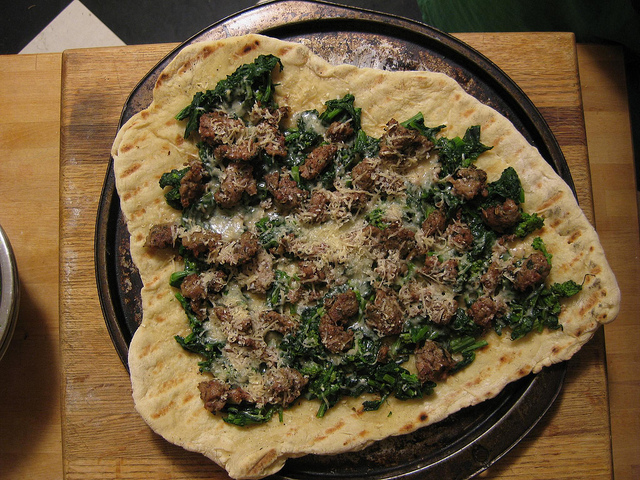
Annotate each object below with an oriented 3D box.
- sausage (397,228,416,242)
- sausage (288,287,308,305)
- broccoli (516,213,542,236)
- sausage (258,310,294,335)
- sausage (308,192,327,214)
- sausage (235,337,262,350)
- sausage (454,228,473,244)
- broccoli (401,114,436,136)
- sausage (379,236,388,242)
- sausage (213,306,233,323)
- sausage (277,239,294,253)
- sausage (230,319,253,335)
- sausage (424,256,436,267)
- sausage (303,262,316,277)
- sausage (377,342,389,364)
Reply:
[{"bbox_3d":[1.019,-0.063,8.379,0.146,0.043,0.145,45,78,-22],"label":"sausage"},{"bbox_3d":[-0.269,0.640,8.541,0.213,0.051,0.144,-30,110,-24],"label":"sausage"},{"bbox_3d":[2.441,-0.186,8.430,0.252,0.126,0.260,-17,105,30],"label":"broccoli"},{"bbox_3d":[-0.535,0.935,8.446,0.345,0.090,0.196,43,98,-6],"label":"sausage"},{"bbox_3d":[-0.028,-0.439,8.490,0.166,0.079,0.263,15,82,2],"label":"sausage"},{"bbox_3d":[-0.826,1.209,8.471,0.231,0.055,0.132,6,114,-12],"label":"sausage"},{"bbox_3d":[1.695,-0.045,8.499,0.229,0.106,0.172,1,85,0],"label":"sausage"},{"bbox_3d":[1.196,-1.371,8.622,0.264,0.095,0.269,-40,92,-10],"label":"broccoli"},{"bbox_3d":[0.747,-0.020,8.419,0.059,0.016,0.059,2,102,27],"label":"sausage"},{"bbox_3d":[-1.150,0.872,8.491,0.135,0.048,0.202,-41,71,21],"label":"sausage"},{"bbox_3d":[-0.425,0.076,8.555,0.157,0.048,0.161,6,102,19],"label":"sausage"},{"bbox_3d":[-0.912,1.017,8.413,0.225,0.083,0.168,7,102,-5],"label":"sausage"},{"bbox_3d":[1.294,0.245,8.447,0.117,0.036,0.120,3,87,22],"label":"sausage"},{"bbox_3d":[-0.120,0.340,8.494,0.155,0.086,0.127,-33,86,-3],"label":"sausage"},{"bbox_3d":[0.742,1.333,8.458,0.125,0.048,0.205,10,91,-21],"label":"sausage"}]
